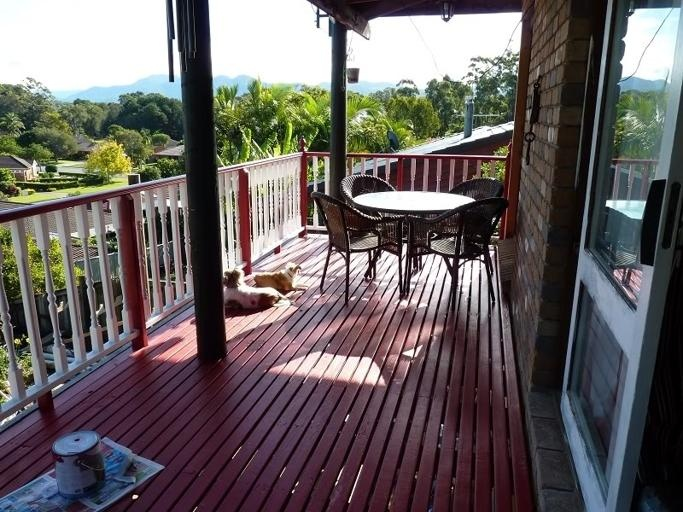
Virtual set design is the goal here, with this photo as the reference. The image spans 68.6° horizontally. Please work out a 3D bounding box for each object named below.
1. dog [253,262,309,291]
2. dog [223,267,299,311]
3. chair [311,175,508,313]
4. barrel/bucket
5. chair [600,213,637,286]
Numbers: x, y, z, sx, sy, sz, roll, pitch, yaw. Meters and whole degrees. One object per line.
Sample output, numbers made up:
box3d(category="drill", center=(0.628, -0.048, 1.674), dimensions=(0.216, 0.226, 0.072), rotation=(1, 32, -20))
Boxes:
box3d(category="dog", center=(-0.608, 0.176, 4.823), dimensions=(0.572, 0.352, 0.219), rotation=(-1, 10, -15))
box3d(category="dog", center=(-0.771, 0.287, 4.359), dimensions=(0.683, 0.365, 0.256), rotation=(6, 14, -20))
box3d(category="chair", center=(0.703, -0.228, 4.900), dimensions=(1.662, 1.005, 1.604), rotation=(3, 18, 16))
box3d(category="barrel/bucket", center=(-1.260, 0.954, 2.438), dimensions=(0.234, 0.282, 0.242), rotation=(5, 21, -2))
box3d(category="chair", center=(1.106, -0.018, 1.989), dimensions=(0.116, 0.194, 0.204), rotation=(-5, 38, 15))
